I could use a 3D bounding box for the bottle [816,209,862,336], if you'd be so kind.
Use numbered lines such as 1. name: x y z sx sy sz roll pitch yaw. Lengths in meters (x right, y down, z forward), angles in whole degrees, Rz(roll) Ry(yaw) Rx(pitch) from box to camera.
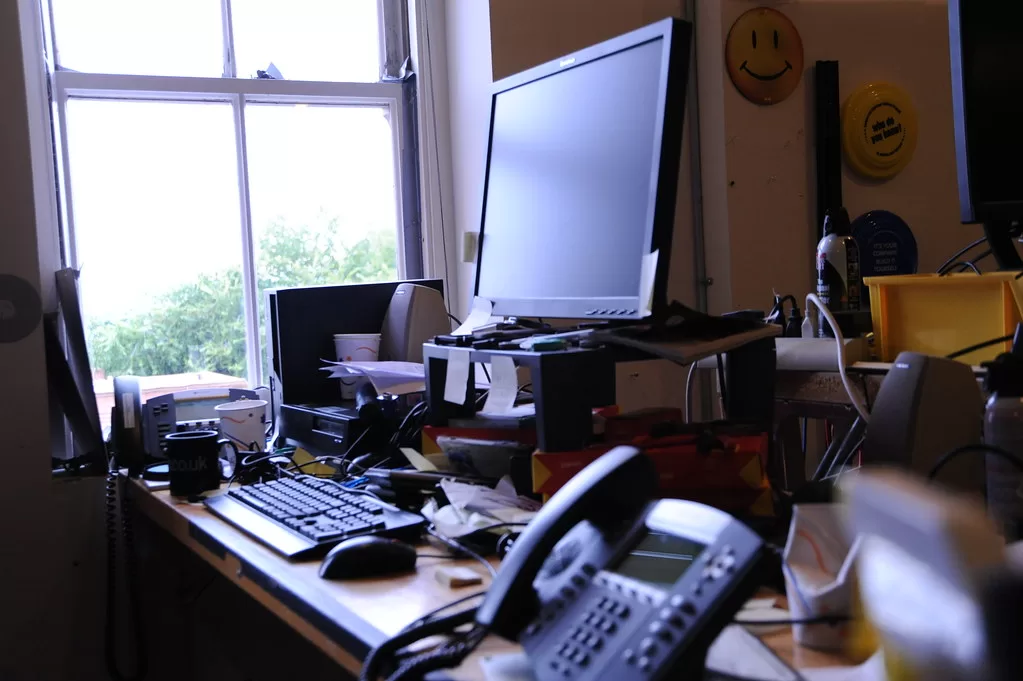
1. bottle: 0.852 -0.185 2.155 0.104 0.317 0.335 -2 7 23

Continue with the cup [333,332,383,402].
1. cup: -0.480 0.086 2.530 0.170 0.194 0.173 0 0 0

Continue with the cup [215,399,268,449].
1. cup: -0.774 0.233 2.357 0.126 0.108 0.139 -3 -1 -5

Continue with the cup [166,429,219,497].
1. cup: -0.780 0.304 2.012 0.160 0.143 0.101 -1 -2 -31

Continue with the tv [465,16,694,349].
1. tv: 0.131 -0.359 1.894 0.208 0.595 0.612 -9 8 -34
